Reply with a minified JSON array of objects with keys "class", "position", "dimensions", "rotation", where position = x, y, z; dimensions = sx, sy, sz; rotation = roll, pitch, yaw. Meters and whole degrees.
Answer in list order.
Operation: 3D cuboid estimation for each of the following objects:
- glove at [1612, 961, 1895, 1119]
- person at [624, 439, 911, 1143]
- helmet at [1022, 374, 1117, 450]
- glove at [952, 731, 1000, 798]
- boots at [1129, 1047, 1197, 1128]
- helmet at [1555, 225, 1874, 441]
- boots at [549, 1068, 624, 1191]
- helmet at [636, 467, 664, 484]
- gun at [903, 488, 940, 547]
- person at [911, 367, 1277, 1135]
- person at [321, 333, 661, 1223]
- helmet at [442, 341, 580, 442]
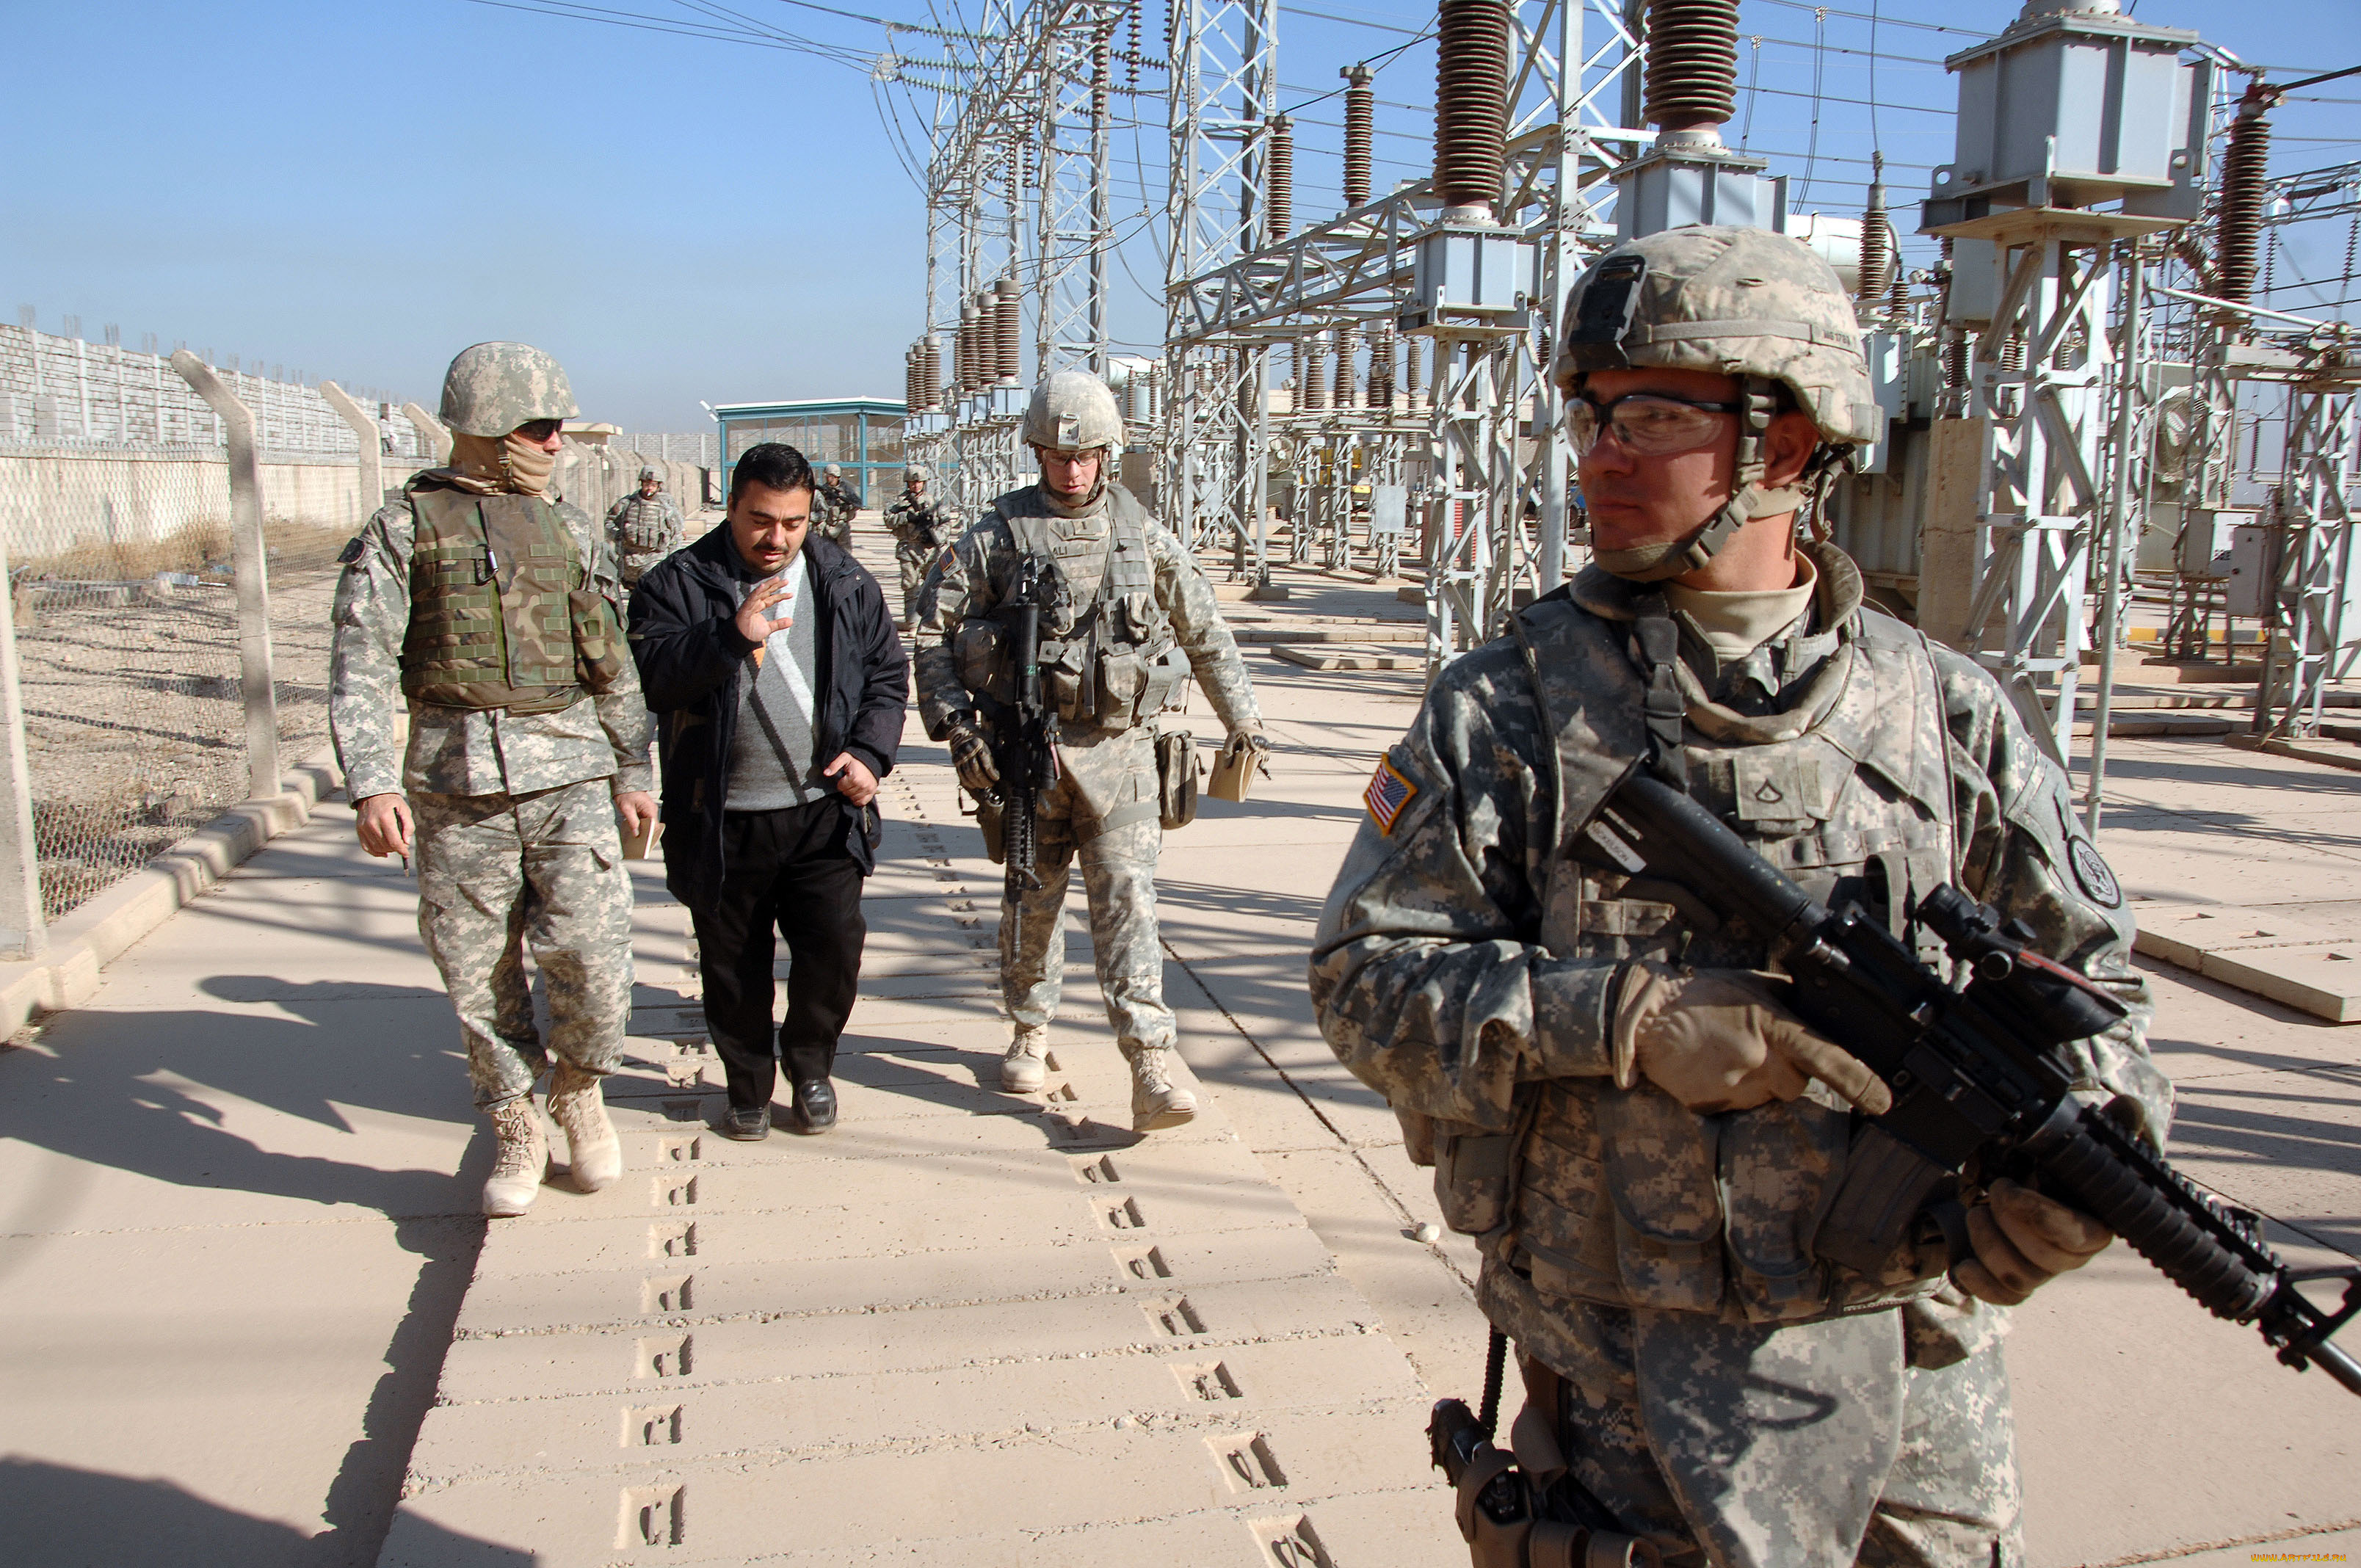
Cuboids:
[{"class":"glove","position":[0.994,0.455,3.136],"dimensions":[0.413,0.224,0.160],"rotation":[17,9,7]},{"class":"person","position":[-1.415,0.035,6.223],"dimensions":[0.902,2.359,0.682],"rotation":[-3,14,-15]},{"class":"helmet","position":[-0.384,-1.297,6.301],"dimensions":[0.252,0.172,0.329],"rotation":[1,12,0]},{"class":"glove","position":[-0.726,-0.050,6.297],"dimensions":[0.078,0.204,0.154],"rotation":[-34,-8,-6]},{"class":"boots","position":[-0.065,1.095,6.173],"dimensions":[0.215,0.300,0.155],"rotation":[0,14,-2]},{"class":"helmet","position":[0.985,-0.820,3.337],"dimensions":[0.473,0.310,0.452],"rotation":[-3,5,-9]},{"class":"boots","position":[-1.942,1.161,5.846],"dimensions":[0.166,0.457,0.204],"rotation":[-16,7,-17]},{"class":"helmet","position":[-4.903,-2.813,16.409],"dimensions":[0.198,0.146,0.266],"rotation":[1,-5,-4]},{"class":"gun","position":[-2.984,-3.010,20.715],"dimensions":[0.271,0.384,0.548],"rotation":[-1,2,10]},{"class":"person","position":[-0.364,0.010,6.379],"dimensions":[1.233,2.325,0.974],"rotation":[2,14,6]},{"class":"person","position":[-2.150,0.007,5.661],"dimensions":[0.920,2.703,0.741],"rotation":[-4,15,-19]},{"class":"helmet","position":[-2.104,-1.203,5.562],"dimensions":[0.385,0.296,0.167],"rotation":[-4,14,-18]}]
